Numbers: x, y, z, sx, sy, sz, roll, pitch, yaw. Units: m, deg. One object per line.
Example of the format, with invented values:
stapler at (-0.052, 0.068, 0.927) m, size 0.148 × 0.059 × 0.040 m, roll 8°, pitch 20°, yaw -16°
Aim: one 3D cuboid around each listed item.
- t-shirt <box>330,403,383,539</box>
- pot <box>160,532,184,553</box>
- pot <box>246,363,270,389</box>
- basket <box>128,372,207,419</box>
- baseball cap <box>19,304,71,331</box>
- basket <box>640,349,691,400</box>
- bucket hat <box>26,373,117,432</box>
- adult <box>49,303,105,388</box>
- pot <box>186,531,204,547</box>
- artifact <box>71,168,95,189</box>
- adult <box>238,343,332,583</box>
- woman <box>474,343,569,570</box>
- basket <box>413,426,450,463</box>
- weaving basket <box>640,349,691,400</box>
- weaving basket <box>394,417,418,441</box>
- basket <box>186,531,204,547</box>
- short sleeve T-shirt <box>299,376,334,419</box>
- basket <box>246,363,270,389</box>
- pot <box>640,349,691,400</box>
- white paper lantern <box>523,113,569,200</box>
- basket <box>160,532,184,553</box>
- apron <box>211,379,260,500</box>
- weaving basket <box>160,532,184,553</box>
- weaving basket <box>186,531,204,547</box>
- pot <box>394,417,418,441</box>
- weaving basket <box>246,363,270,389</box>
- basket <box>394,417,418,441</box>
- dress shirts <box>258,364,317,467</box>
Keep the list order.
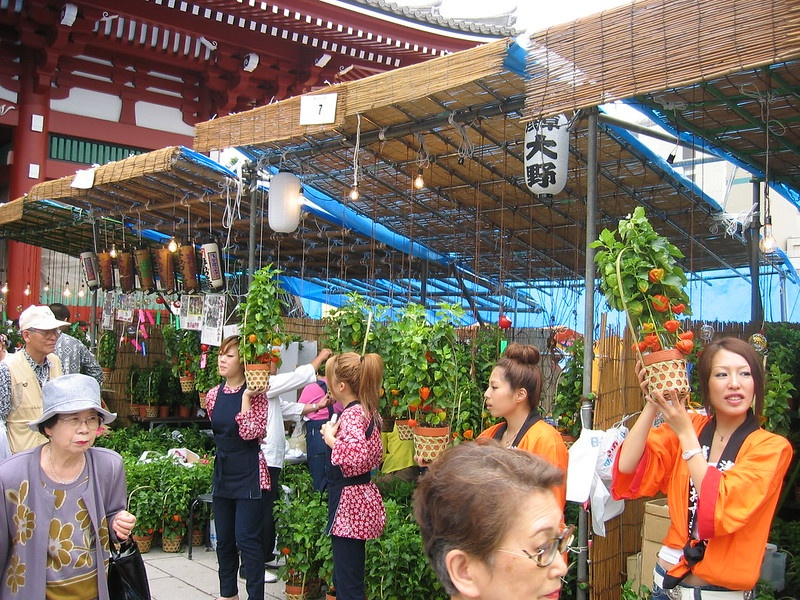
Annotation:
t-shirt at (-0.306, 1.269, 5.810) m, size 0.424 × 1.005 × 0.306 m, roll 2°, pitch -4°, yaw -7°
pot at (-2.369, 2.523, 8.114) m, size 0.181 × 0.166 × 0.205 m, roll 4°, pitch -2°, yaw -15°
pot at (-1.170, 0.625, 6.452) m, size 0.182 × 0.202 × 0.190 m, roll 0°, pitch -8°, yaw 0°
basket at (-3.637, 1.412, 11.948) m, size 1.104 × 0.853 × 0.948 m, roll 4°, pitch -10°, yaw -23°
baseball cap at (-2.946, 0.139, 6.446) m, size 0.302 × 0.173 × 0.207 m, roll 1°, pitch -4°, yaw 11°
basket at (1.524, 0.434, 4.492) m, size 0.216 × 0.245 × 0.221 m, roll -32°, pitch -20°, yaw 24°
bucket hat at (-1.960, 0.619, 4.689) m, size 0.374 × 0.218 × 0.370 m, roll -18°, pitch -12°, yaw 25°
adult at (-3.446, 0.616, 8.068) m, size 0.281 × 0.942 × 0.655 m, roll 2°, pitch -43°, yaw -46°
pot at (-2.166, 2.529, 8.321) m, size 0.171 × 0.147 × 0.177 m, roll 2°, pitch -16°, yaw 1°
artifact at (-3.879, -1.520, 9.686) m, size 0.282 × 0.303 × 0.078 m, roll 1°, pitch -17°, yaw 37°
adult at (-1.021, 1.608, 7.617) m, size 0.840 × 2.407 × 0.894 m, roll -4°, pitch -9°, yaw 28°
woman at (0.883, 0.989, 5.634) m, size 0.857 × 1.829 × 1.154 m, roll 3°, pitch -6°, yaw 7°
basket at (0.204, 1.139, 6.303) m, size 0.299 × 0.286 × 0.309 m, roll 12°, pitch -5°, yaw -24°
weaving basket at (1.562, 0.413, 4.488) m, size 0.217 × 0.253 × 0.222 m, roll -14°, pitch -5°, yaw 24°
weaving basket at (0.065, 1.059, 6.465) m, size 0.188 × 0.158 × 0.197 m, roll 2°, pitch -10°, yaw -5°
basket at (-2.171, 2.529, 8.313) m, size 0.171 × 0.147 × 0.177 m, roll 6°, pitch -16°, yaw -14°
short sleeve T-shirt at (-0.916, 1.052, 8.219) m, size 0.272 × 0.408 × 0.384 m, roll -32°, pitch -21°, yaw 24°
basket at (-1.191, 0.635, 6.493) m, size 0.203 × 0.223 × 0.120 m, roll 2°, pitch -4°, yaw -2°
pot at (1.487, 0.439, 4.479) m, size 0.251 × 0.283 × 0.252 m, roll -2°, pitch -15°, yaw 0°
white paper lantern at (1.313, -1.312, 6.966) m, size 0.359 × 0.623 × 0.369 m, roll 2°, pitch -4°, yaw -8°
basket at (-2.379, 2.519, 8.113) m, size 0.181 × 0.166 × 0.205 m, roll 4°, pitch -2°, yaw -15°
apron at (-1.356, 1.179, 6.565) m, size 0.412 × 0.964 × 0.322 m, roll 3°, pitch 19°, yaw -4°
weaving basket at (-2.371, 2.529, 8.114) m, size 0.181 × 0.166 × 0.205 m, roll 4°, pitch -2°, yaw -15°
weaving basket at (-2.171, 2.527, 8.314) m, size 0.171 × 0.147 × 0.177 m, roll 6°, pitch -16°, yaw -14°
pot at (0.057, 1.057, 6.463) m, size 0.188 × 0.158 × 0.197 m, roll 1°, pitch -10°, yaw 0°
weaving basket at (-1.175, 0.633, 6.542) m, size 0.182 × 0.202 × 0.190 m, roll 1°, pitch -8°, yaw -4°
basket at (0.064, 1.058, 6.465) m, size 0.188 × 0.158 × 0.197 m, roll 2°, pitch -10°, yaw -5°
dress shirts at (-1.111, 1.037, 7.575) m, size 0.626 × 0.941 × 0.500 m, roll -3°, pitch 12°, yaw -5°
